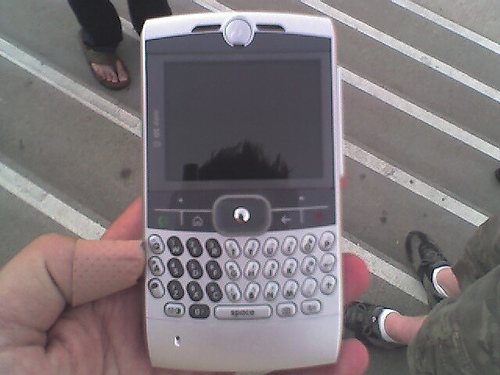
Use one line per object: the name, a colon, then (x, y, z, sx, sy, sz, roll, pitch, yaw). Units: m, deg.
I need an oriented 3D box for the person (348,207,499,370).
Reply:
person: (1.020, 0.620, 3.464, 0.778, 0.713, 0.861, 3, 81, -1)
